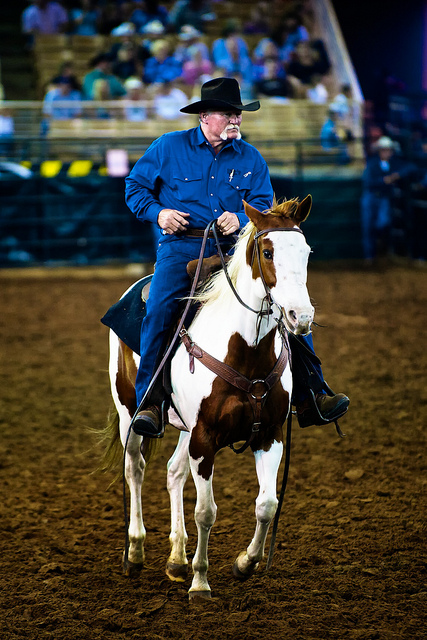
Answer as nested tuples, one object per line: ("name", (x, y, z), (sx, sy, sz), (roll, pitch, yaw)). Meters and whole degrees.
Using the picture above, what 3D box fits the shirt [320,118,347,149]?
("shirt", (2.055, -3.325, 14.696), (0.369, 0.507, 0.728), (-7, 14, -19))

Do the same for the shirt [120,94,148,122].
("shirt", (-1.490, -4.000, 15.478), (0.471, 0.526, 0.864), (-3, 13, -6))

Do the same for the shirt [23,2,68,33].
("shirt", (-3.667, -6.637, 18.021), (0.932, 0.648, 0.499), (-4, 14, -9))

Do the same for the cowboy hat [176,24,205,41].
("cowboy hat", (-0.566, -6.325, 18.074), (0.637, 0.165, 0.576), (0, 27, -1))

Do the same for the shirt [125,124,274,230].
("shirt", (-0.085, -0.746, 4.293), (0.760, 0.525, 0.397), (-2, 13, -4))

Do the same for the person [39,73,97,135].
("person", (-2.706, -4.035, 15.325), (1.026, 1.115, 1.803), (-3, 13, -7))

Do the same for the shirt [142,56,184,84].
("shirt", (-1.009, -5.084, 16.694), (0.589, 0.581, 0.934), (6, 15, 29))

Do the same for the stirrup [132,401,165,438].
("stirrup", (-0.304, 0.504, 4.103), (0.184, 0.168, 0.077), (-10, 16, -31))

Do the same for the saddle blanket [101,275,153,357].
("saddle blanket", (-0.434, -0.050, 4.519), (0.149, 0.327, 0.438), (-41, -6, -14))

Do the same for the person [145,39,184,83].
("person", (-1.117, -5.266, 16.701), (0.894, 0.900, 0.837), (4, 14, 22))

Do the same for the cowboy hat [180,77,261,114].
("cowboy hat", (0.051, -1.154, 4.209), (0.473, 0.203, 0.202), (-15, 29, -34))

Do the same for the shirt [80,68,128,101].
("shirt", (-2.176, -4.508, 15.742), (0.490, 0.727, 0.828), (24, 40, 38))

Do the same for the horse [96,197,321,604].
("horse", (-0.074, 0.527, 4.649), (0.790, 1.877, 2.850), (3, -8, -20))
